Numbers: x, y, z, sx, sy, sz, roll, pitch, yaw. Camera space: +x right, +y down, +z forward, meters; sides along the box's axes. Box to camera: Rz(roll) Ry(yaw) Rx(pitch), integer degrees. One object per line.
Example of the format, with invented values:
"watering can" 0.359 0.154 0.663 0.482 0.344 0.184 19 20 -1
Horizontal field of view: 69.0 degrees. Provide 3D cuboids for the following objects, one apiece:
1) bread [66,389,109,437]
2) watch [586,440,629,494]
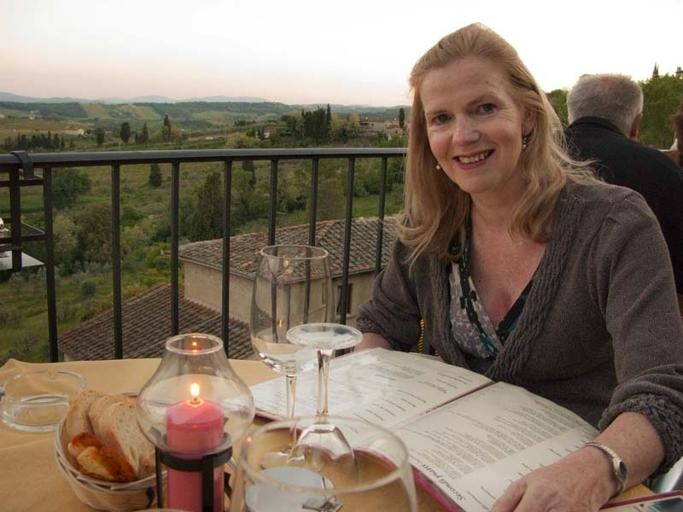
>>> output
"bread" -0.351 0.210 0.671 0.015 0.061 0.057 -1 -7 39
"watch" 0.386 0.308 0.728 0.033 0.058 0.057 -4 13 -23
